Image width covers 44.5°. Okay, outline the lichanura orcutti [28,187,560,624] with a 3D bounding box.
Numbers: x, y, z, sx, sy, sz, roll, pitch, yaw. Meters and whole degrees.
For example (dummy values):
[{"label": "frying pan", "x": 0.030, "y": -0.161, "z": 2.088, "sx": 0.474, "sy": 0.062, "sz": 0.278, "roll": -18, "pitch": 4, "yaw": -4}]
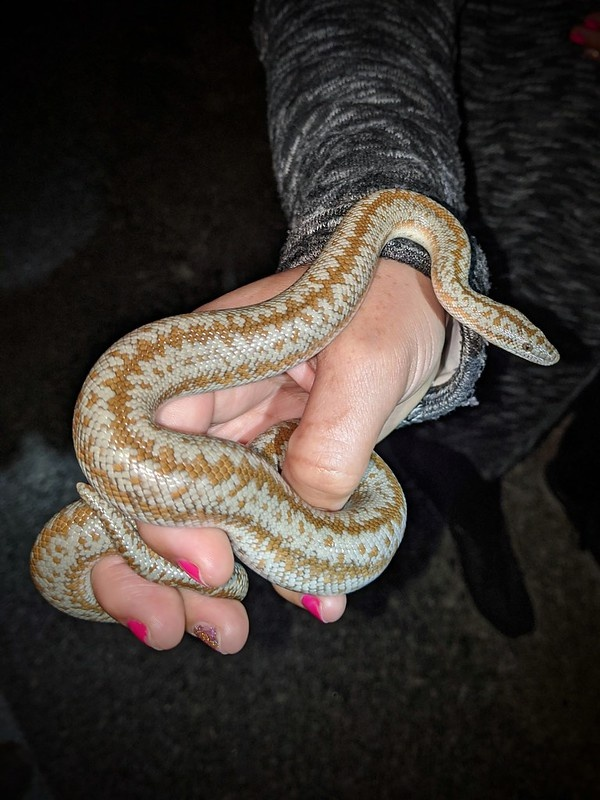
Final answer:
[{"label": "lichanura orcutti", "x": -0.010, "y": -0.082, "z": 2.874, "sx": 1.953, "sy": 1.654, "sz": 1.149, "roll": 5, "pitch": 103, "yaw": -24}]
